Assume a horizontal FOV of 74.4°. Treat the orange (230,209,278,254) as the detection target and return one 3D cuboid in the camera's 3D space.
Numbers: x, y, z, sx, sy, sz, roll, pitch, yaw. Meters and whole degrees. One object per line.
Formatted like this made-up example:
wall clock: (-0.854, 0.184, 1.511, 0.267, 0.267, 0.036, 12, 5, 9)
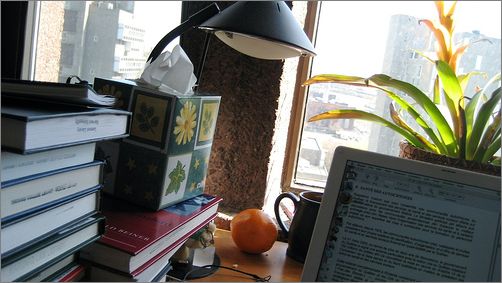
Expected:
orange: (0.008, 0.299, 1.175, 0.163, 0.139, 0.143, 10, -5, -6)
